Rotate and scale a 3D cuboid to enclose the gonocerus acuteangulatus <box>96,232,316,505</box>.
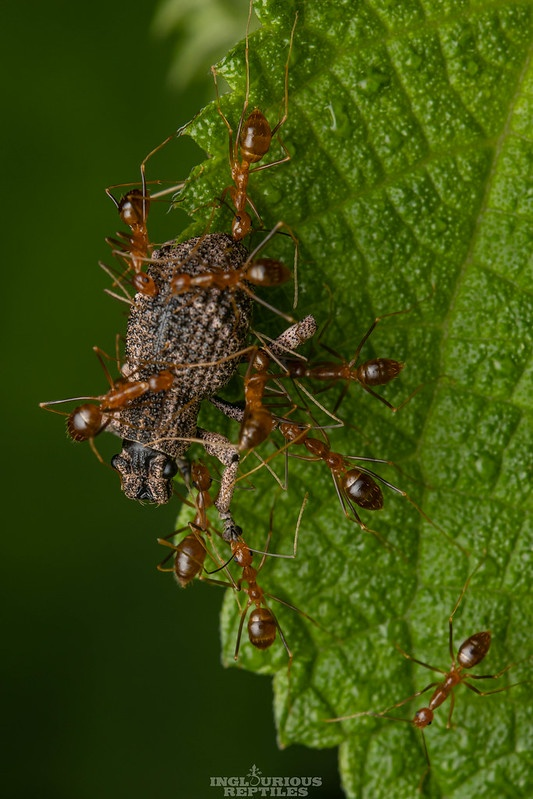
[{"bbox_3d":[-0.417,-0.107,3.830,0.986,1.247,0.455,8,18,17],"label":"gonocerus acuteangulatus"}]

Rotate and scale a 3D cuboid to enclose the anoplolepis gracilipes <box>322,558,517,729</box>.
[{"bbox_3d":[0.975,1.436,4.264,0.287,1.150,0.814,39,-9,10],"label":"anoplolepis gracilipes"}]

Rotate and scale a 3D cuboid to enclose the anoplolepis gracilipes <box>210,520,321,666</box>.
[{"bbox_3d":[0.028,0.987,4.138,0.417,0.701,0.328,-3,-16,-3],"label":"anoplolepis gracilipes"}]

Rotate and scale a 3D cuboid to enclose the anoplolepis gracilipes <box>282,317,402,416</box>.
[{"bbox_3d":[0.404,-0.131,4.172,0.566,0.489,0.202,-3,-32,16],"label":"anoplolepis gracilipes"}]

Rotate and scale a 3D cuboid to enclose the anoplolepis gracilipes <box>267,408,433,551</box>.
[{"bbox_3d":[0.416,0.398,4.125,0.846,0.425,0.213,41,-3,-15],"label":"anoplolepis gracilipes"}]
